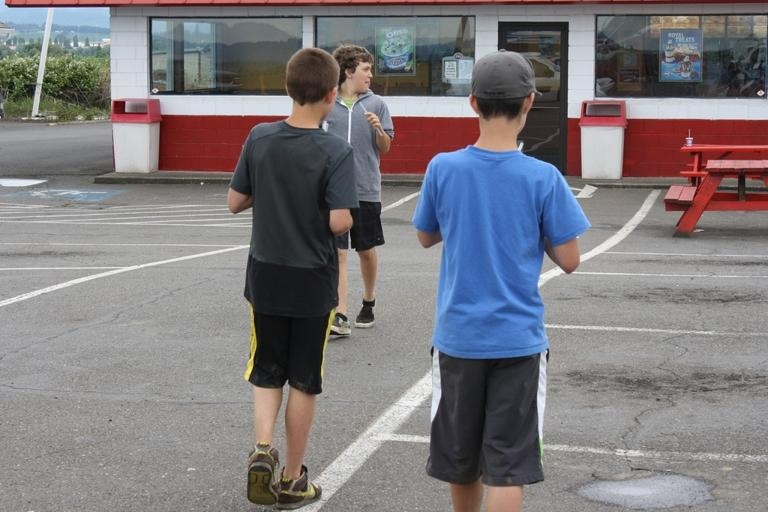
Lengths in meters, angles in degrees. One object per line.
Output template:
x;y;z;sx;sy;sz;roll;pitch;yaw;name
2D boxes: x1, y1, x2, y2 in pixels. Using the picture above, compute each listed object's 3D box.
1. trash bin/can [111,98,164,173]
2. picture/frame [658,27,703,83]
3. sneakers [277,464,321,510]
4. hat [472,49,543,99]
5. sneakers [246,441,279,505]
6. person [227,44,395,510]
-6.661;-3.256;19.016;1.238;2.004;0.823;-1;10;-17;trash bin/can
7.576;-5.162;17.892;1.530;1.743;0.138;0;-1;1;picture/frame
-0.496;1.334;4.087;0.138;0.180;0.314;3;2;29;sneakers
0.555;-0.835;3.246;0.291;0.234;0.196;3;10;6;hat
-0.628;1.184;3.887;0.170;0.331;0.214;-1;15;1;sneakers
-0.495;0.114;4.061;0.694;2.643;0.755;-2;10;-22;person
